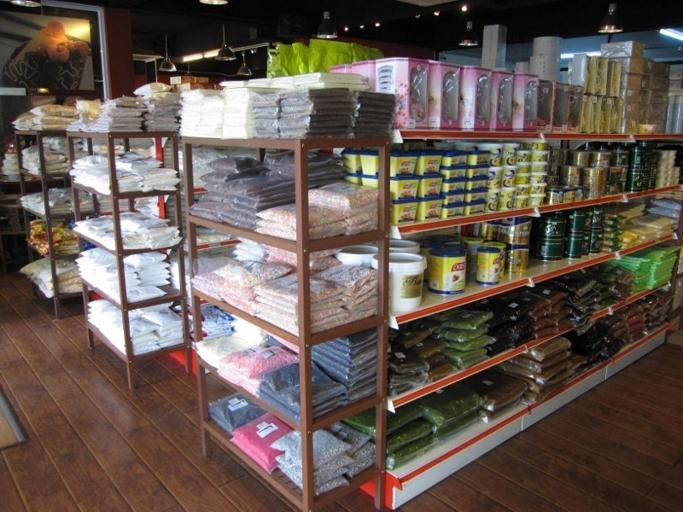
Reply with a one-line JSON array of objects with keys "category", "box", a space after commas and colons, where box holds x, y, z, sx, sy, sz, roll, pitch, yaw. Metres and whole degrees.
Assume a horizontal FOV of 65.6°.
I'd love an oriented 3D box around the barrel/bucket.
[{"category": "barrel/bucket", "box": [0.286, 0.132, 3.380, 0.694, 0.266, 0.465, -3, 13, -9]}]
